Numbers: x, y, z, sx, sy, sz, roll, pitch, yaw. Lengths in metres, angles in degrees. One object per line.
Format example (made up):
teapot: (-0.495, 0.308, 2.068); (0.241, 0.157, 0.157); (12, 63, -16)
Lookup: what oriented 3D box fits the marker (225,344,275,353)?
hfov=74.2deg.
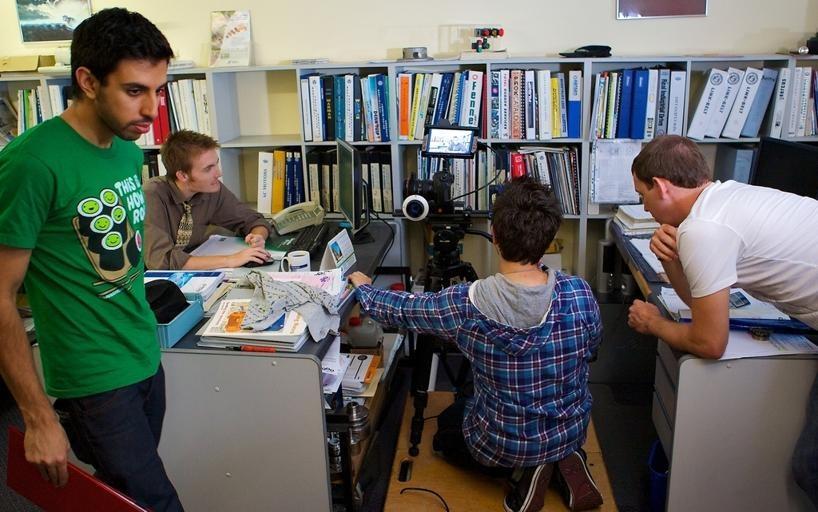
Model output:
marker: (-0.589, 0.349, 2.036); (0.134, 0.023, 0.026); (3, -4, 0)

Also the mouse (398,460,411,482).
mouse: (-0.019, 0.970, 2.426); (0.059, 0.055, 0.100); (3, 18, 7)

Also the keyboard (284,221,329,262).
keyboard: (-0.534, -0.087, 3.031); (0.138, 0.039, 0.239); (-18, 23, 15)

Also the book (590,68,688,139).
book: (1.425, -0.945, 3.368); (0.578, 0.433, 0.077); (0, 18, 8)

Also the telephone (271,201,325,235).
telephone: (-0.660, -0.230, 3.294); (0.291, 0.134, 0.166); (-24, 8, -19)

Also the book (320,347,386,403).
book: (-0.253, 0.521, 2.440); (0.217, 0.055, 0.217); (2, 26, 10)

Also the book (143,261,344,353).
book: (-0.543, 0.231, 2.108); (0.460, 0.107, 0.469); (-1, 17, -3)

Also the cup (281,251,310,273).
cup: (-0.554, 0.034, 2.624); (0.144, 0.102, 0.091); (-3, 15, -4)

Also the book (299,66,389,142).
book: (-0.409, -0.963, 3.514); (0.596, 0.436, 0.067); (0, 18, 8)

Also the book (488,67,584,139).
book: (0.816, -0.969, 3.638); (0.782, 0.551, 0.416); (0, 11, 3)

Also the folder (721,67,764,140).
folder: (1.979, -0.963, 3.357); (0.086, 0.349, 0.359); (14, 35, 12)

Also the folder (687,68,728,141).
folder: (1.856, -0.964, 3.373); (0.088, 0.367, 0.363); (18, -22, 14)
